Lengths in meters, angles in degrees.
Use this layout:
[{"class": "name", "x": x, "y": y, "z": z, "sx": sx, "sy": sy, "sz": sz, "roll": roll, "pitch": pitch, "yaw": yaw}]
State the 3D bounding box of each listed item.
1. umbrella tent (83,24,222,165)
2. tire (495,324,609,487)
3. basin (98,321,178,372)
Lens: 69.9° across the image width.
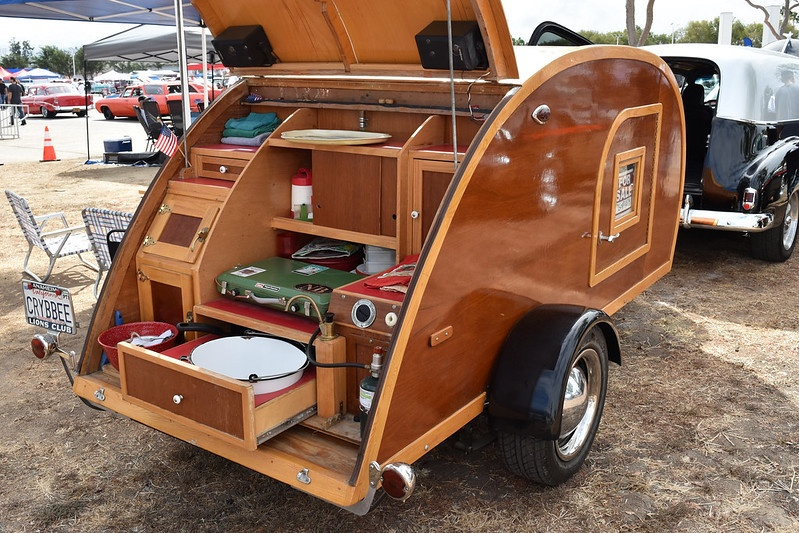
[{"class": "umbrella tent", "x": -5.761, "y": -4.393, "z": 14.865, "sx": 2.990, "sy": 3.420, "sz": 3.487, "roll": -3, "pitch": 4, "yaw": 8}, {"class": "tire", "x": 0.890, "y": 0.839, "z": 3.437, "sx": 0.320, "sy": 0.904, "sz": 0.844, "roll": 12, "pitch": 24, "yaw": 37}, {"class": "basin", "x": -1.825, "y": 0.494, "z": 3.864, "sx": 0.365, "sy": 0.135, "sz": 0.358, "roll": 1, "pitch": 9, "yaw": 0}]
